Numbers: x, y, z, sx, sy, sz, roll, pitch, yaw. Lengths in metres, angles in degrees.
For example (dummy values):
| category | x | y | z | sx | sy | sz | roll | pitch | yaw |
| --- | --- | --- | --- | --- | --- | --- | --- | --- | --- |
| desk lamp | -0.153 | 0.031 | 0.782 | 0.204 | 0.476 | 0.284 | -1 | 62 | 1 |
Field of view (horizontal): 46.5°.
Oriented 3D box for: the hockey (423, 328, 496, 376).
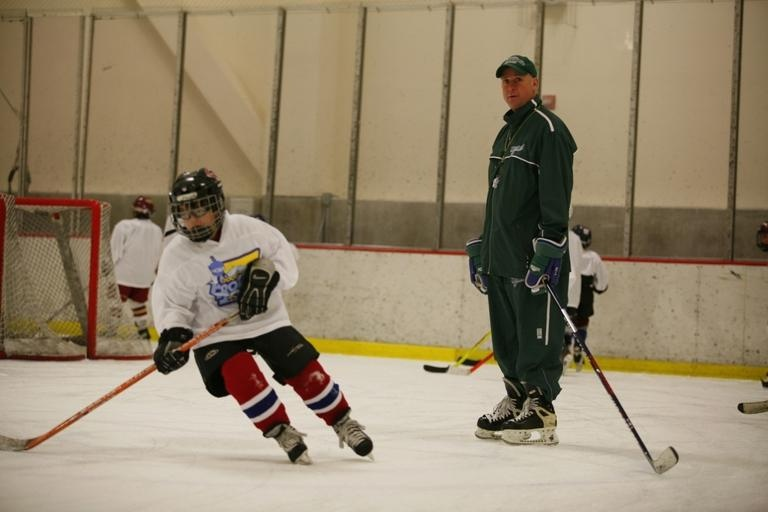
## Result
| category | x | y | z | sx | sy | sz | roll | pitch | yaw |
| --- | --- | --- | --- | --- | --- | --- | --- | --- | --- |
| hockey | 0.708 | 0.986 | 8.516 | 0.518 | 0.147 | 0.517 | -9 | 6 | 8 |

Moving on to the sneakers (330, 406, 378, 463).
| category | x | y | z | sx | sy | sz | roll | pitch | yaw |
| --- | --- | --- | --- | --- | --- | --- | --- | --- | --- |
| sneakers | -0.218 | 1.167 | 5.760 | 0.166 | 0.172 | 0.386 | 54 | -3 | -39 |

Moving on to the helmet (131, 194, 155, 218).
| category | x | y | z | sx | sy | sz | roll | pitch | yaw |
| --- | --- | --- | --- | --- | --- | --- | --- | --- | --- |
| helmet | -2.571 | -0.555 | 9.560 | 0.204 | 0.152 | 0.330 | 25 | 5 | -19 |

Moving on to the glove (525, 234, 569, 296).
| category | x | y | z | sx | sy | sz | roll | pitch | yaw |
| --- | --- | --- | --- | --- | --- | --- | --- | --- | --- |
| glove | 1.069 | 0.034 | 5.933 | 0.218 | 0.505 | 0.175 | 5 | 28 | -7 |

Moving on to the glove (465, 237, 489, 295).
| category | x | y | z | sx | sy | sz | roll | pitch | yaw |
| --- | --- | --- | --- | --- | --- | --- | --- | --- | --- |
| glove | 0.664 | 0.055 | 6.392 | 0.235 | 0.340 | 0.132 | -15 | -14 | 20 |

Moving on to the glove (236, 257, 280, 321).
| category | x | y | z | sx | sy | sz | roll | pitch | yaw |
| --- | --- | --- | --- | --- | --- | --- | --- | --- | --- |
| glove | -0.804 | 0.203 | 5.691 | 0.229 | 0.395 | 0.105 | 14 | -5 | -21 |

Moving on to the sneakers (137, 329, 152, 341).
| category | x | y | z | sx | sy | sz | roll | pitch | yaw |
| --- | --- | --- | --- | --- | --- | --- | --- | --- | --- |
| sneakers | -2.458 | 0.804 | 9.139 | 0.081 | 0.087 | 0.146 | 48 | 10 | -43 |

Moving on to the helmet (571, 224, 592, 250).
| category | x | y | z | sx | sy | sz | roll | pitch | yaw |
| --- | --- | --- | --- | --- | --- | --- | --- | --- | --- |
| helmet | 1.985 | -0.189 | 8.961 | 0.201 | 0.268 | 0.122 | 2 | -7 | 19 |

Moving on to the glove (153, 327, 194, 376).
| category | x | y | z | sx | sy | sz | roll | pitch | yaw |
| --- | --- | --- | --- | --- | --- | --- | --- | --- | --- |
| glove | -1.340 | 0.589 | 5.681 | 0.131 | 0.299 | 0.216 | 18 | -1 | -18 |

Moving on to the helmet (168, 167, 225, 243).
| category | x | y | z | sx | sy | sz | roll | pitch | yaw |
| --- | --- | --- | --- | --- | --- | --- | --- | --- | --- |
| helmet | -1.100 | -0.347 | 5.829 | 0.344 | 0.454 | 0.461 | -6 | 4 | 6 |
